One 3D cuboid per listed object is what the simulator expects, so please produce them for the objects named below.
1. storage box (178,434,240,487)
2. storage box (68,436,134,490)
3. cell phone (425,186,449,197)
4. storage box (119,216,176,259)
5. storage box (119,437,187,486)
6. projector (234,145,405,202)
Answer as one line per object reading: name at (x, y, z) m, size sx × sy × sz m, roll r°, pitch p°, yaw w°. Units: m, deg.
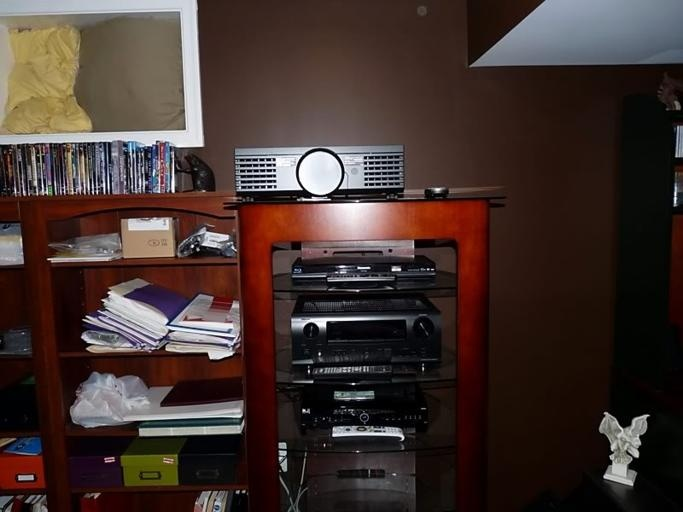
storage box at (-0.519, 0.817, 2.284) m, size 0.164 × 0.108 × 0.171 m, roll 0°, pitch 6°, yaw 2°
storage box at (-0.963, 0.819, 2.301) m, size 0.186 × 0.123 × 0.194 m, roll 1°, pitch 3°, yaw -5°
cell phone at (0.339, -0.220, 2.030) m, size 0.066 × 0.028 × 0.086 m, roll 4°, pitch 8°, yaw 37°
storage box at (-0.746, -0.067, 2.216) m, size 0.199 × 0.153 × 0.057 m, roll -2°, pitch 6°, yaw -16°
storage box at (-0.749, 0.815, 2.278) m, size 0.165 × 0.089 × 0.170 m, roll 1°, pitch 3°, yaw -2°
projector at (-0.078, -0.293, 2.016) m, size 0.588 × 0.181 × 0.078 m, roll -1°, pitch 6°, yaw -2°
